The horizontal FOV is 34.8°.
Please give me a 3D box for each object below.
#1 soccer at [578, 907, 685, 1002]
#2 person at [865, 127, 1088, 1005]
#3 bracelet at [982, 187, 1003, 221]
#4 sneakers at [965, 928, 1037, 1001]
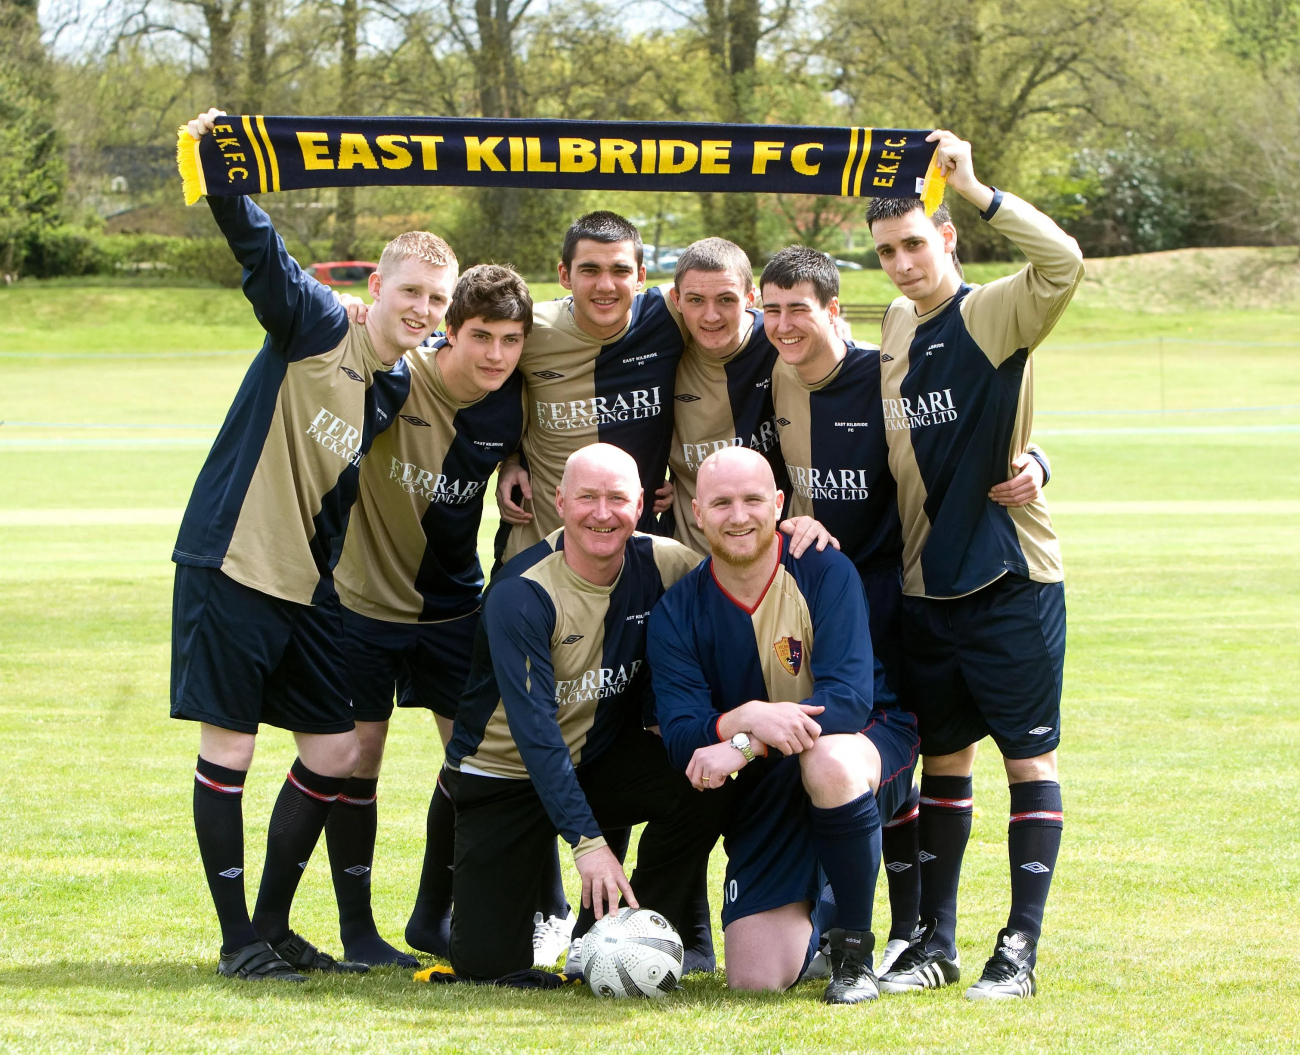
[{"bbox_3d":[-0.070,2.028,9.906,0.469,0.408,0.420,-6,23,4],"label":"soccer"},{"bbox_3d":[1.582,0.131,10.191,0.985,4.056,1.492,0,13,-1],"label":"person"},{"bbox_3d":[1.643,-1.569,10.075,0.055,0.134,0.104,19,-9,-26],"label":"bracelet"},{"bbox_3d":[1.731,2.073,9.965,0.252,0.272,0.473,9,15,34],"label":"sneakers"}]
